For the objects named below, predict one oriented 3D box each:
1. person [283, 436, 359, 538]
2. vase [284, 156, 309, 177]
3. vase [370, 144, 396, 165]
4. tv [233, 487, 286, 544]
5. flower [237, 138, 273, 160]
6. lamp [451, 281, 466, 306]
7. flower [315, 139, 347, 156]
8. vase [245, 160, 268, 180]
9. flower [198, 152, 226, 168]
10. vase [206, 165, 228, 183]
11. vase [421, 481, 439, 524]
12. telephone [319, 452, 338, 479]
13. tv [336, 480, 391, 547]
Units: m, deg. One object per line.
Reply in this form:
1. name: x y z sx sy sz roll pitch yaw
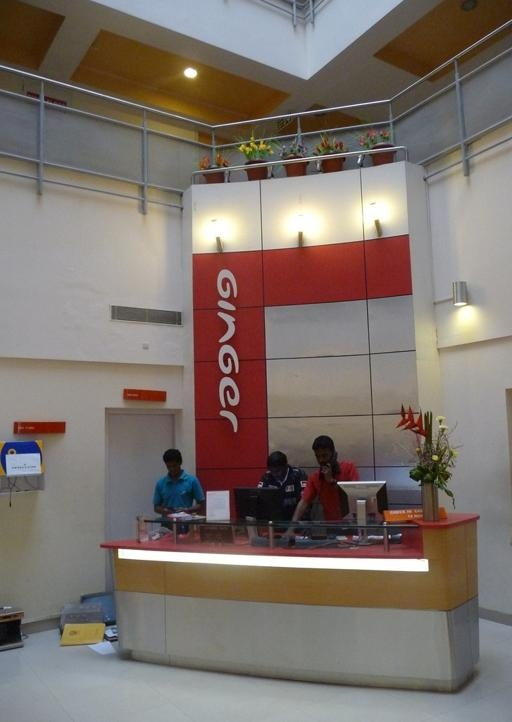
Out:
1. person: 0.584 1.255 5.536 0.650 1.113 0.417 -11 11 -20
2. vase: 0.475 -2.261 7.317 0.240 0.173 0.236 0 -9 3
3. vase: 1.442 -2.310 7.025 0.264 0.188 0.262 5 -6 12
4. tv: 0.031 1.173 4.723 0.347 0.307 0.125 -1 3 23
5. flower: 0.012 -2.525 7.477 0.330 0.217 0.324 -1 -2 -6
6. lamp: 2.087 -0.694 6.364 0.139 0.232 0.134 -7 -8 26
7. flower: 0.872 -2.492 7.313 0.262 0.138 0.244 -1 -2 16
8. vase: 0.007 -2.266 7.442 0.261 0.185 0.226 -2 -6 18
9. flower: -0.518 -2.434 7.646 0.331 0.145 0.255 -1 38 8
10. vase: -0.469 -2.249 7.531 0.219 0.143 0.218 3 10 17
11. vase: 1.191 0.951 4.234 0.121 0.252 0.135 -4 -7 5
12. telephone: 0.635 0.918 5.395 0.160 0.235 0.416 -5 -7 8
13. tv: 0.774 1.084 4.470 0.340 0.410 0.436 -5 -7 8
